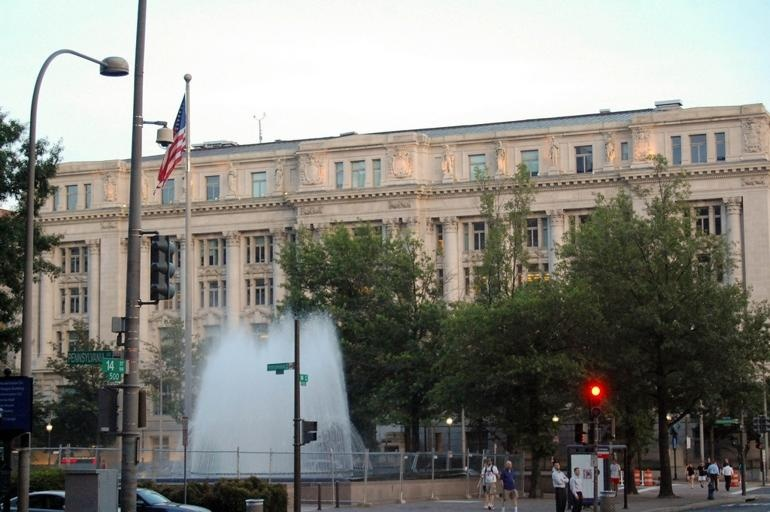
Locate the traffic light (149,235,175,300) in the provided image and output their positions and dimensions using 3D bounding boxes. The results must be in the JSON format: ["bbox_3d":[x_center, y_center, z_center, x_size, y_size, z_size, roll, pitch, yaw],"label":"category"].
[{"bbox_3d":[-10.876,0.555,82.327,1.357,3.408,1.071,6,-14,-32],"label":"traffic light"}]

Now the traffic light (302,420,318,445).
[{"bbox_3d":[-4.282,9.661,93.555,0.798,1.319,0.984,-2,-12,4],"label":"traffic light"}]
